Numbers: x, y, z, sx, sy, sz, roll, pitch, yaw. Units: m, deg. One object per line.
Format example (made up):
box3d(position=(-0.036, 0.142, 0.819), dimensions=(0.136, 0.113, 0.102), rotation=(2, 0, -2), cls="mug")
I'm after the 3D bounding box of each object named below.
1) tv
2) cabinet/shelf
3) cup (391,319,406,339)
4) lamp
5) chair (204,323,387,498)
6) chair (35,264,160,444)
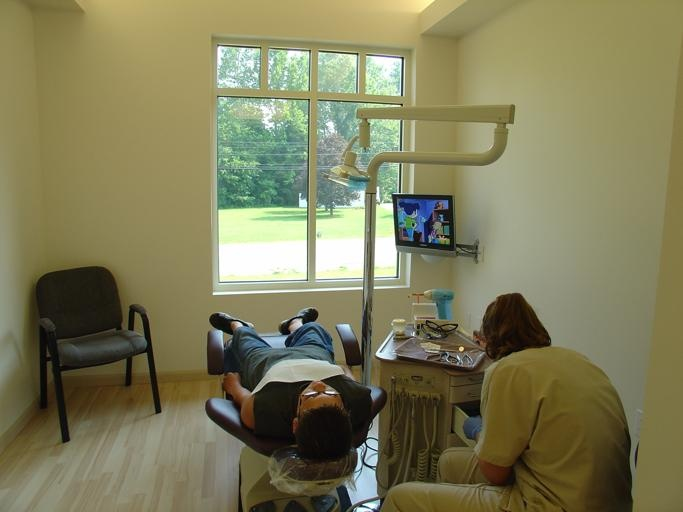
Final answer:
box3d(position=(0.738, -0.279, 4.743), dimensions=(0.535, 0.492, 0.059), rotation=(7, 18, 33), cls="tv")
box3d(position=(0.452, 0.913, 3.487), dimensions=(1.000, 1.038, 0.782), rotation=(-1, 4, -11), cls="cabinet/shelf")
box3d(position=(0.391, 0.497, 3.643), dimensions=(0.103, 0.106, 0.082), rotation=(-1, 3, -6), cls="cup")
box3d(position=(0.392, 0.161, 3.478), dimensions=(1.006, 2.276, 0.509), rotation=(-2, 37, -1), cls="lamp")
box3d(position=(-0.351, 0.896, 3.533), dimensions=(0.903, 1.244, 1.141), rotation=(0, 49, -10), cls="chair")
box3d(position=(-1.917, 0.706, 4.271), dimensions=(0.874, 1.160, 0.923), rotation=(-3, 8, -13), cls="chair")
